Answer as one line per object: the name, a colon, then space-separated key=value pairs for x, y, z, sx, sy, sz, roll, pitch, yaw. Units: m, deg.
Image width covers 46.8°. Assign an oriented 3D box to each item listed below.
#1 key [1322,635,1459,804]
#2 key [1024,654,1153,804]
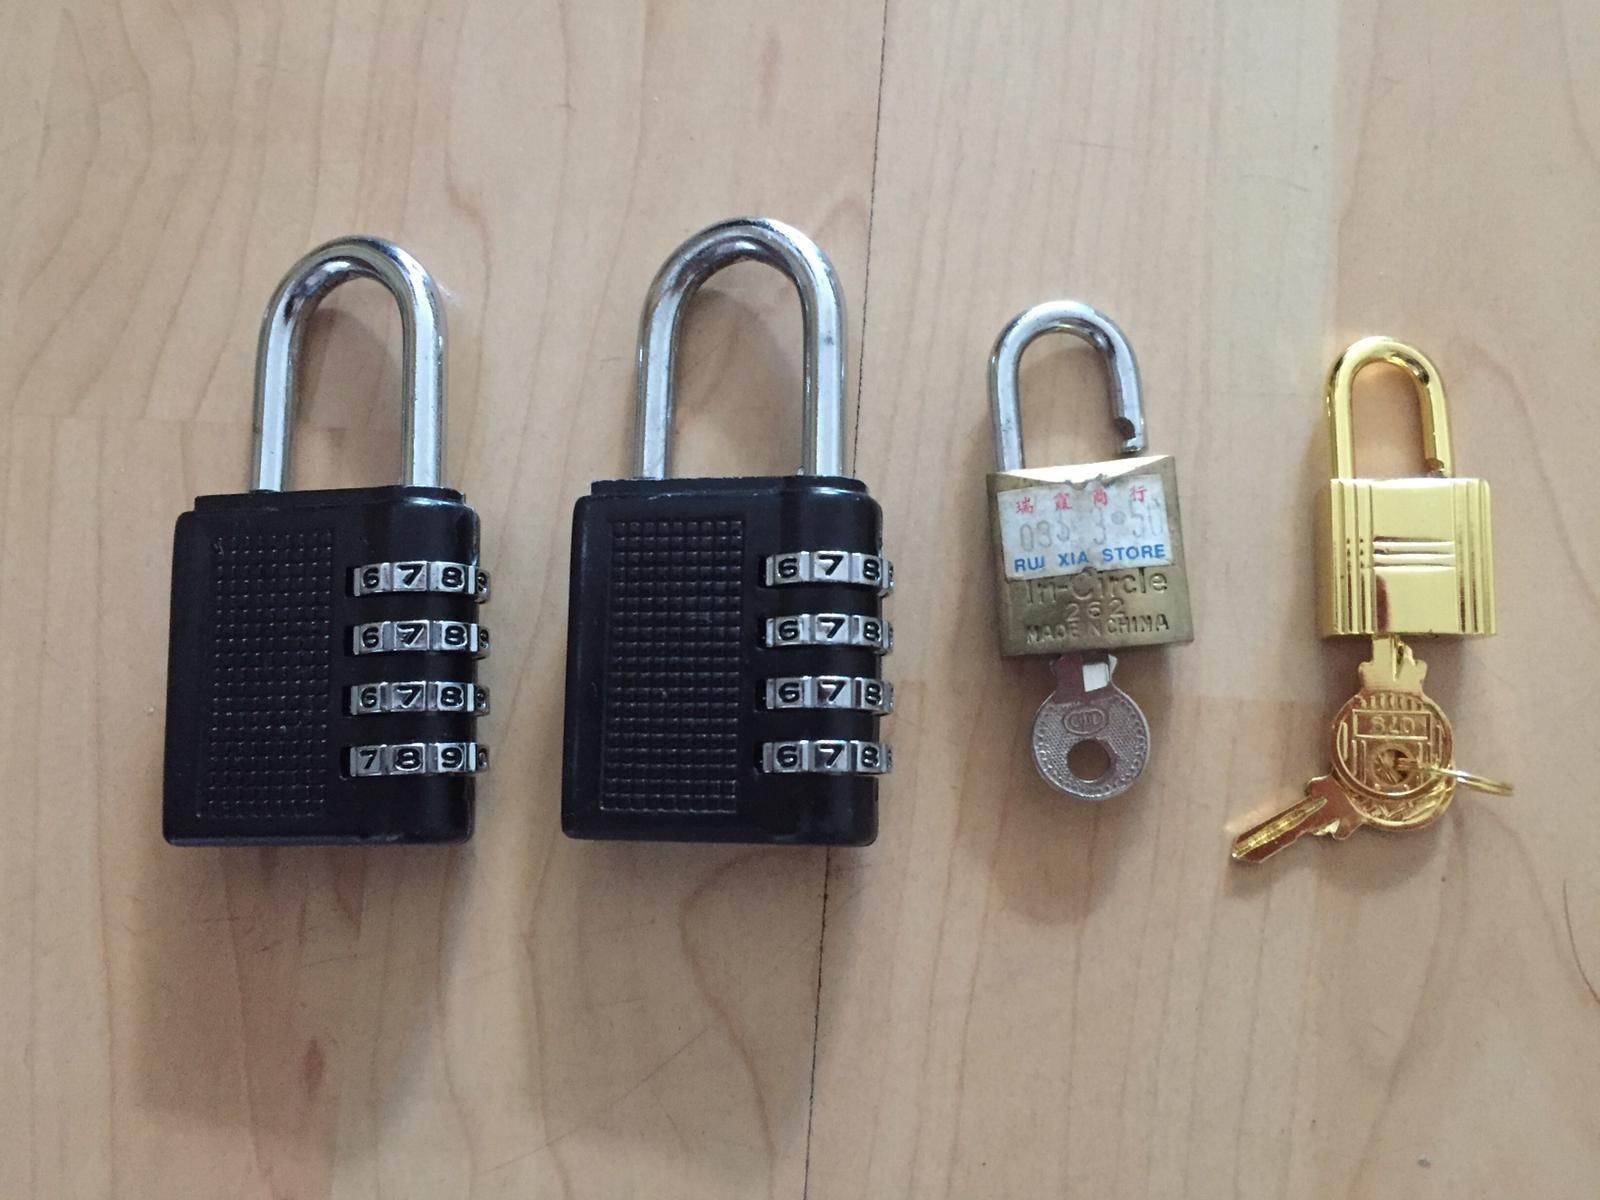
key: x=0.612 y=0.135 z=1.912 sx=0.123 sy=0.213 sz=0.024 roll=-3 pitch=-40 yaw=23
key: x=0.295 y=0.133 z=1.891 sx=0.122 sy=0.200 sz=0.030 roll=-2 pitch=-42 yaw=9
